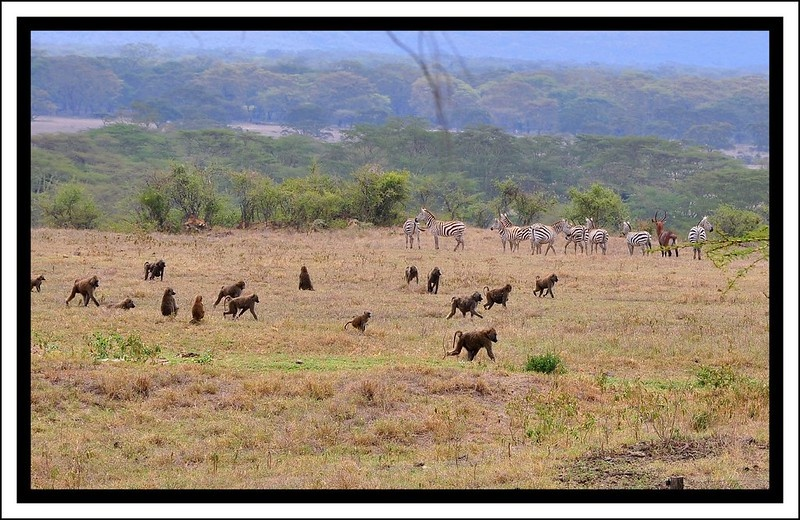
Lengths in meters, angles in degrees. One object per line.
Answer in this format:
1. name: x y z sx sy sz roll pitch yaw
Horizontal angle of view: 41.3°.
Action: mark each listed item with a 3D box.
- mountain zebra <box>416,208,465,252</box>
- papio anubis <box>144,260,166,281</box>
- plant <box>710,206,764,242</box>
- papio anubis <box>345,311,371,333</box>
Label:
1. mountain zebra: 3.180 -2.374 80.540 3.354 2.616 5.191 0 9 -9
2. papio anubis: -14.787 0.489 63.324 1.103 1.201 1.814 -1 10 -14
3. plant: 23.965 -2.640 75.855 3.232 2.192 3.044 19 26 34
4. papio anubis: -2.262 3.042 54.907 1.232 0.965 1.229 0 9 -6
